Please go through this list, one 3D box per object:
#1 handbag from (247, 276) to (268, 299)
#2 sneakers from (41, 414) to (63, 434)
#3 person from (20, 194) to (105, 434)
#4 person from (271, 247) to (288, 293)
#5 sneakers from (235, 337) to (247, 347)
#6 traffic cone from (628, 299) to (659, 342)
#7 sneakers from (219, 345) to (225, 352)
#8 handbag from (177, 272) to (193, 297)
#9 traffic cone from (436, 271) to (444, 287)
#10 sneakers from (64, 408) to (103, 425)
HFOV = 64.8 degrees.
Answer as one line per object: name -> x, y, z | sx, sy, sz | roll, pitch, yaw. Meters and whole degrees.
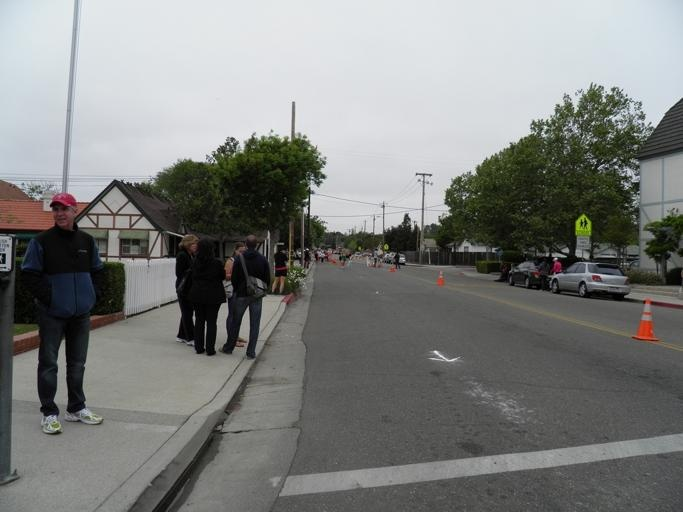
handbag -> -1.470, 0.524, 9.241 | 0.132, 0.333, 0.310 | -8, -14, 27
sneakers -> -3.136, 1.796, 5.773 | 0.119, 0.145, 0.281 | 6, -8, -36
person -> -3.042, 0.584, 5.892 | 0.476, 2.542, 0.813 | 4, 5, 44
person -> -2.274, 0.602, 19.712 | 0.500, 1.653, 2.239 | 0, 4, -8
sneakers -> -1.958, 1.661, 10.521 | 0.265, 0.157, 0.143 | -10, 17, 6
traffic cone -> 7.866, 1.667, 13.955 | 0.755, 1.210, 0.707 | 10, -5, -41
sneakers -> -2.169, 1.670, 9.748 | 0.067, 0.108, 0.146 | 3, 7, -18
handbag -> -2.823, 0.504, 9.692 | 0.147, 0.393, 0.367 | 15, -11, -13
traffic cone -> 5.784, 1.300, 31.392 | 0.473, 0.764, 0.538 | 0, -5, 0
sneakers -> -2.884, 1.771, 6.087 | 0.412, 0.204, 0.180 | 3, 2, -3
